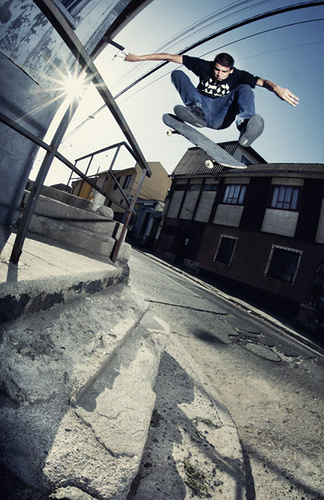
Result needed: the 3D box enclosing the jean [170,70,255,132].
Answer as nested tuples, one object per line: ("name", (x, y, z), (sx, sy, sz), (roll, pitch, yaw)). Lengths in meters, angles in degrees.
("jean", (1.185, -3.311, 6.214), (1.906, 1.112, 1.044), (26, -6, 19))
